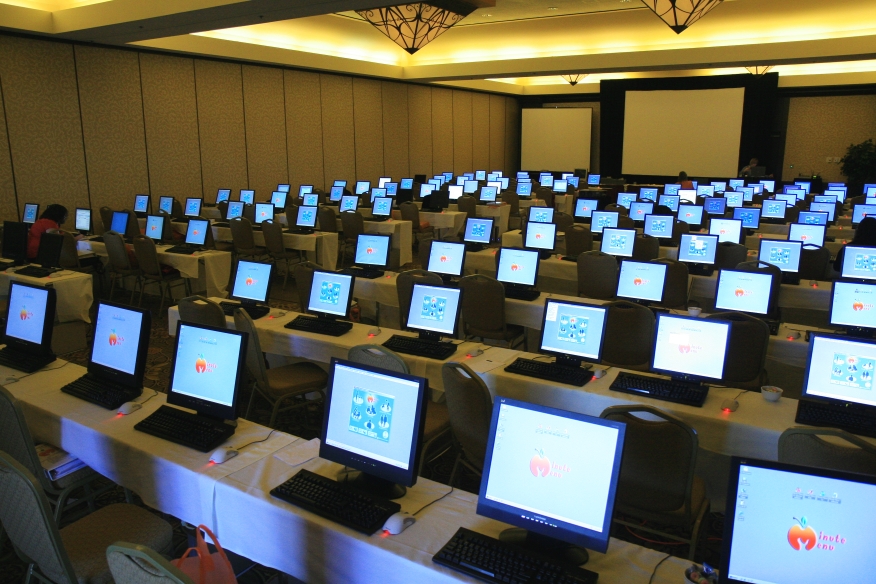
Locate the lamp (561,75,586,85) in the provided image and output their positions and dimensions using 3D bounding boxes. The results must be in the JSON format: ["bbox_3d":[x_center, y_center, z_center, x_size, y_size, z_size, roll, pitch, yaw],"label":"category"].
[{"bbox_3d":[4.432,-6.933,20.625,0.641,0.340,0.873,4,14,15],"label":"lamp"}]

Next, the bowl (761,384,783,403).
[{"bbox_3d":[2.283,0.688,4.330,0.122,0.079,0.132,1,-2,0],"label":"bowl"}]

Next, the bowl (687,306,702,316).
[{"bbox_3d":[2.068,0.147,5.087,0.095,0.064,0.093,2,4,0],"label":"bowl"}]
